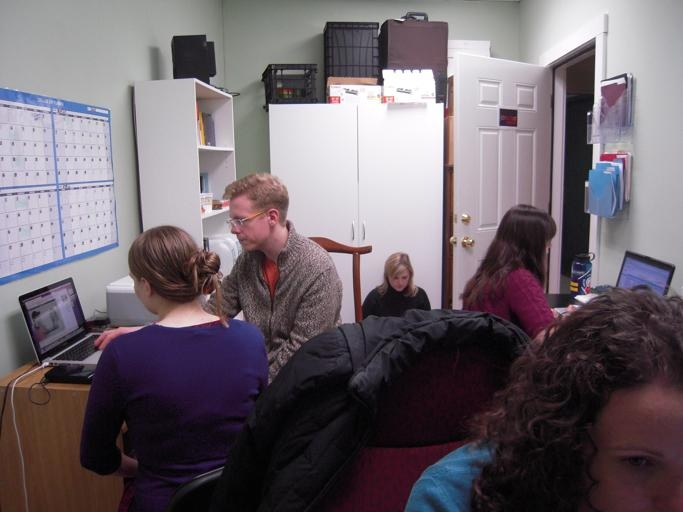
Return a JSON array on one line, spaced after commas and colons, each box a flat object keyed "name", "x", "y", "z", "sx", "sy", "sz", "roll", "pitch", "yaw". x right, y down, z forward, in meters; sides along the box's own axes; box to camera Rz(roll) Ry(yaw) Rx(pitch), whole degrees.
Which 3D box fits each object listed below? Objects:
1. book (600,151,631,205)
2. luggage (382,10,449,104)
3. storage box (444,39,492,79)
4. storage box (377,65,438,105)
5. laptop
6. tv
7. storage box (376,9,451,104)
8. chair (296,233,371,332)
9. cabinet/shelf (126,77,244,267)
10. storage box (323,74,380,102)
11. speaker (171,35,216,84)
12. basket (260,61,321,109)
[{"name": "book", "x": 1.596, "y": -0.464, "z": 2.998, "sx": 0.281, "sy": 0.295, "sz": 0.113, "roll": -8, "pitch": 6, "yaw": -26}, {"name": "luggage", "x": 0.572, "y": -1.672, "z": 4.299, "sx": 0.644, "sy": 0.976, "sz": 0.599, "roll": 0, "pitch": 15, "yaw": -2}, {"name": "storage box", "x": 1.172, "y": -1.833, "z": 4.671, "sx": 0.466, "sy": 0.348, "sz": 0.114, "roll": -2, "pitch": 10, "yaw": -17}, {"name": "storage box", "x": 0.522, "y": -1.323, "z": 3.940, "sx": 0.444, "sy": 0.298, "sz": 0.241, "roll": 0, "pitch": 4, "yaw": -2}, {"name": "laptop", "x": -1.120, "y": 0.284, "z": 2.253, "sx": 0.418, "sy": 0.303, "sz": 0.410, "roll": 1, "pitch": 9, "yaw": -4}, {"name": "tv", "x": 1.264, "y": 0.082, "z": 2.243, "sx": 0.203, "sy": 0.171, "sz": 0.266, "roll": -2, "pitch": 9, "yaw": -4}, {"name": "storage box", "x": 0.681, "y": -1.782, "z": 4.216, "sx": 0.536, "sy": 0.710, "sz": 0.452, "roll": 16, "pitch": 56, "yaw": 22}, {"name": "chair", "x": 0.076, "y": 0.120, "z": 3.142, "sx": 0.483, "sy": 0.693, "sz": 0.479, "roll": 1, "pitch": 10, "yaw": 14}, {"name": "cabinet/shelf", "x": -0.987, "y": -0.682, "z": 3.075, "sx": 0.387, "sy": 0.746, "sz": 0.180, "roll": 14, "pitch": 35, "yaw": 35}, {"name": "storage box", "x": 0.102, "y": -1.339, "z": 4.042, "sx": 0.423, "sy": 0.213, "sz": 0.195, "roll": 1, "pitch": 10, "yaw": -2}, {"name": "speaker", "x": -0.900, "y": -1.242, "z": 3.224, "sx": 0.179, "sy": 0.195, "sz": 0.204, "roll": 6, "pitch": 21, "yaw": 15}, {"name": "basket", "x": -0.291, "y": -1.478, "z": 4.357, "sx": 0.442, "sy": 0.306, "sz": 0.688, "roll": 6, "pitch": 17, "yaw": 17}]
